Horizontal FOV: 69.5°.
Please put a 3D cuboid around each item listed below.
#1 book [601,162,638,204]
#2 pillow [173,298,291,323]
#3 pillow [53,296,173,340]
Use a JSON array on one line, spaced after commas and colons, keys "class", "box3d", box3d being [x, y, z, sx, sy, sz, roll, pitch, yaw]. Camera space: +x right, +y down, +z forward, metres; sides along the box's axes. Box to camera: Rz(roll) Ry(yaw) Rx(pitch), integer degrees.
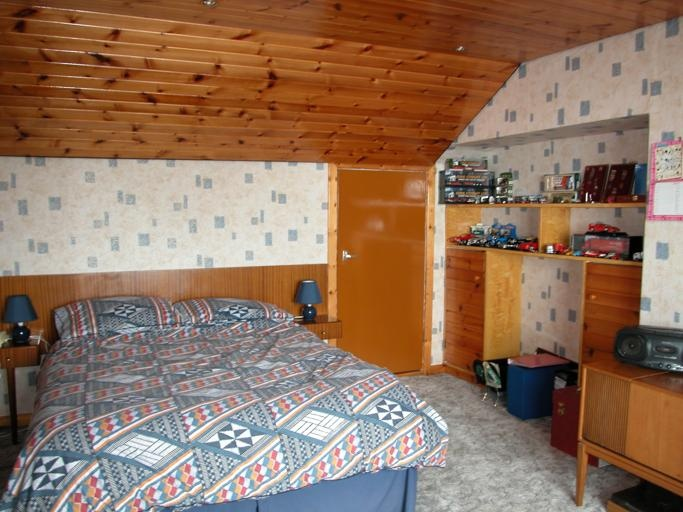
[{"class": "book", "box3d": [2.143, -0.556, 3.769, 0.194, 0.295, 0.374, 7, 12, 26]}, {"class": "pillow", "box3d": [-0.965, 0.474, 4.227, 0.635, 0.085, 0.377, -1, 6, -23]}, {"class": "pillow", "box3d": [-1.829, 0.456, 3.969, 0.859, 0.140, 0.411, -5, 34, -22]}]
